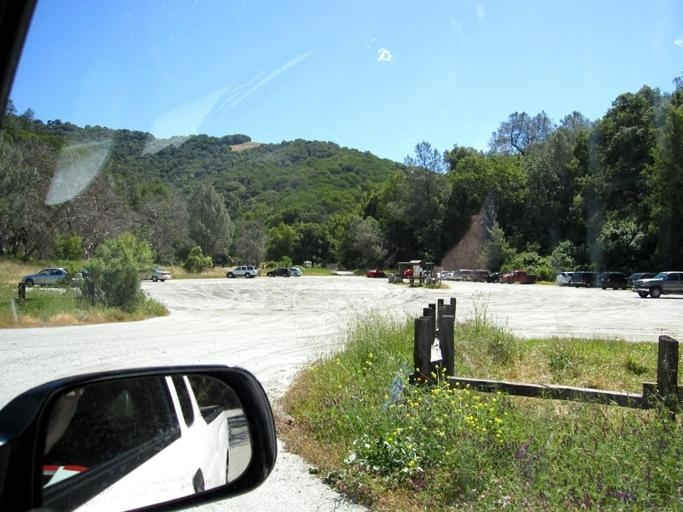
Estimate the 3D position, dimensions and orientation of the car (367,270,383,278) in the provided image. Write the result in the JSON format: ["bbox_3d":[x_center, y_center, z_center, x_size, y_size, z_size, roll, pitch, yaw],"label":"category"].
[{"bbox_3d":[4.499,2.296,72.627,1.442,0.754,0.947,5,-4,-24],"label":"car"}]

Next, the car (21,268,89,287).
[{"bbox_3d":[-15.358,1.154,30.559,2.039,0.931,1.029,2,-1,11],"label":"car"}]

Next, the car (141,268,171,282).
[{"bbox_3d":[-13.696,1.442,42.478,2.109,0.999,1.140,3,0,17],"label":"car"}]

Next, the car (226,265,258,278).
[{"bbox_3d":[-11.082,2.071,64.207,2.572,1.525,1.498,5,-1,4],"label":"car"}]
